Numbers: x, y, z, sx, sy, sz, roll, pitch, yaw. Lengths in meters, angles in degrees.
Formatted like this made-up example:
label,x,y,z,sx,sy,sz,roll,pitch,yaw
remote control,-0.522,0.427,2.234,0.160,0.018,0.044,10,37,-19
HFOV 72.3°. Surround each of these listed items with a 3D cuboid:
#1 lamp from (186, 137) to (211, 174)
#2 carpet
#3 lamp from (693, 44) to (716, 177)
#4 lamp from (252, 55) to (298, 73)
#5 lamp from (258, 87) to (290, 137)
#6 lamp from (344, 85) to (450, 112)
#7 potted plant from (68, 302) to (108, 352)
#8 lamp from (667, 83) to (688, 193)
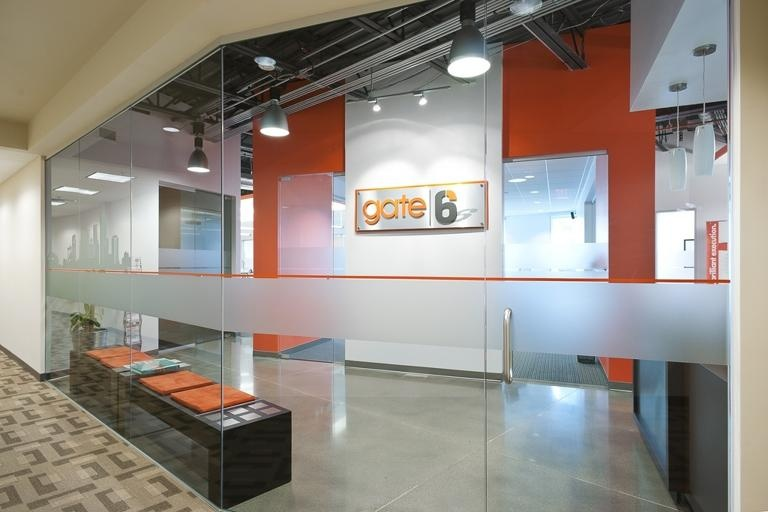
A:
label,x,y,z,sx,sy,sz,roll,pitch,yaw
lamp,-1.310,-0.703,3.666,0.215,0.245,0.094,9,19,44
carpet,0.339,0.609,3.007,1.746,0.162,0.172,1,14,20
lamp,1.598,-0.733,2.620,0.118,0.638,0.331,3,15,29
lamp,-0.708,-1.210,3.326,0.205,0.047,0.142,7,2,16
lamp,-0.741,-0.932,3.457,0.251,0.341,0.246,1,-7,-22
lamp,0.081,-0.904,3.051,0.627,0.105,0.146,7,18,39
potted plant,-2.851,0.636,4.990,0.272,0.314,0.264,-5,11,-38
lamp,1.436,-0.586,2.566,0.093,0.508,0.248,3,15,28
